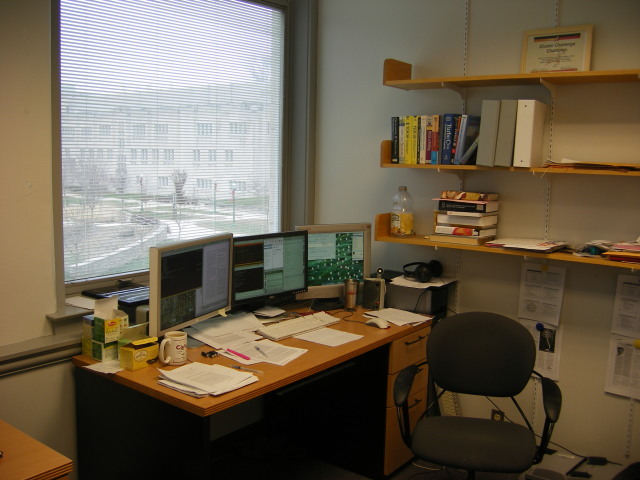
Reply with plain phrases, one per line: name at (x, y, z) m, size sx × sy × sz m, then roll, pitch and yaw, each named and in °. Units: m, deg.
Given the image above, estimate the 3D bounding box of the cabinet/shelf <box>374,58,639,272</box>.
cabinet/shelf at (1.162, -0.454, 2.922) m, size 1.403 × 0.867 × 0.250 m, roll 5°, pitch 13°, yaw 31°

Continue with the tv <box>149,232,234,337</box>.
tv at (-0.646, 0.244, 2.501) m, size 0.071 × 0.381 × 0.531 m, roll 6°, pitch 8°, yaw 29°

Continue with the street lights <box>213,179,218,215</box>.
street lights at (-0.736, -0.295, 3.460) m, size 0.024 × 0.213 × 0.052 m, roll 10°, pitch 15°, yaw 25°

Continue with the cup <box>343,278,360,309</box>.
cup at (0.199, 0.349, 3.154) m, size 0.090 × 0.179 × 0.089 m, roll 4°, pitch 13°, yaw -1°

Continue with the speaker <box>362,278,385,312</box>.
speaker at (0.344, 0.355, 3.143) m, size 0.172 × 0.221 × 0.082 m, roll 11°, pitch 11°, yaw 29°

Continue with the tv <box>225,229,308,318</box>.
tv at (-0.321, 0.173, 2.965) m, size 0.106 × 0.432 × 0.617 m, roll 5°, pitch 6°, yaw 42°

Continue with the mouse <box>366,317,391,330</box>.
mouse at (0.338, 0.482, 2.878) m, size 0.095 × 0.030 × 0.063 m, roll 11°, pitch 13°, yaw 41°

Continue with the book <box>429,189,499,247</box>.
book at (0.885, -0.123, 3.108) m, size 0.390 × 0.363 × 0.318 m, roll 5°, pitch 7°, yaw 38°

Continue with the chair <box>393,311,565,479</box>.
chair at (0.865, 0.838, 2.663) m, size 0.830 × 1.010 × 0.745 m, roll 3°, pitch 18°, yaw 16°

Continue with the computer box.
computer box at (0.617, 0.380, 3.238) m, size 0.355 × 0.252 × 0.303 m, roll 6°, pitch 11°, yaw 38°

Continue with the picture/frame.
picture/frame at (1.371, -1.099, 2.811) m, size 0.407 × 0.343 × 0.041 m, roll 3°, pitch 0°, yaw 29°

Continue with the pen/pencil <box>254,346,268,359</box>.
pen/pencil at (-0.294, 0.558, 2.457) m, size 0.026 × 0.008 × 0.109 m, roll -11°, pitch 19°, yaw -21°

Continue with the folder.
folder at (1.123, -0.539, 2.927) m, size 0.366 × 0.471 × 0.490 m, roll 5°, pitch 7°, yaw 27°

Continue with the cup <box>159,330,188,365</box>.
cup at (-0.700, 0.524, 2.312) m, size 0.093 × 0.132 × 0.157 m, roll -1°, pitch 1°, yaw 24°

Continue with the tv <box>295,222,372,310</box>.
tv at (0.074, 0.181, 3.173) m, size 0.566 × 0.535 × 0.194 m, roll -1°, pitch 2°, yaw -21°

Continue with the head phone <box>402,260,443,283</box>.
head phone at (0.653, 0.212, 3.254) m, size 0.151 × 0.092 × 0.206 m, roll -4°, pitch -2°, yaw -32°
